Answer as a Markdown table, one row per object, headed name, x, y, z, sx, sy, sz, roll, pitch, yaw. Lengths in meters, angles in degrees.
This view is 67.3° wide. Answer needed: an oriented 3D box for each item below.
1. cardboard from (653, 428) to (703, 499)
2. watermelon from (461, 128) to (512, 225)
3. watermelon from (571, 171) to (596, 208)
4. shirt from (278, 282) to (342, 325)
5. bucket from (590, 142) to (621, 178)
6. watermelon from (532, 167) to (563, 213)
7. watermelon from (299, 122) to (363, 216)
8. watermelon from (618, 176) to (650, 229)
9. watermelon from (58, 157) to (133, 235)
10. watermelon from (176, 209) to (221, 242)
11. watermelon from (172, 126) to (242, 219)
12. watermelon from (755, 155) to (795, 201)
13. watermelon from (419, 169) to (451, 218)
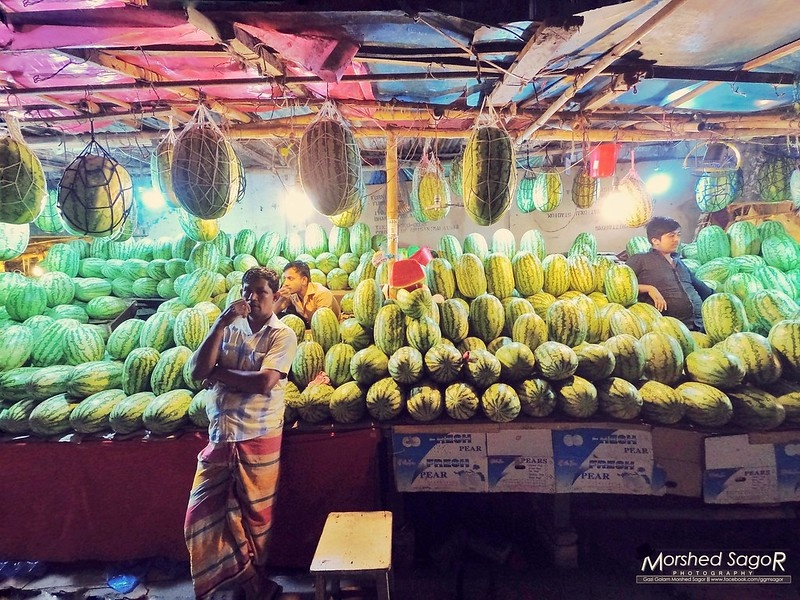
| name | x | y | z | sx | sy | sz | roll | pitch | yaw |
| --- | --- | --- | --- | --- | --- | --- | --- | --- | --- |
| cardboard | 2.274 | 1.312 | 4.910 | 0.401 | 0.553 | 0.039 | 0 | 5 | 7 |
| watermelon | 0.759 | -1.017 | 5.107 | 0.468 | 0.776 | 0.407 | 3 | -6 | 42 |
| watermelon | 2.013 | -1.217 | 6.550 | 0.282 | 0.402 | 0.218 | 3 | 7 | 35 |
| shirt | -0.858 | -0.011 | 6.141 | 0.540 | 0.349 | 0.390 | -25 | 16 | -38 |
| bucket | 2.181 | -1.484 | 6.386 | 0.388 | 0.346 | 0.321 | -3 | 10 | -23 |
| watermelon | 1.650 | -1.213 | 6.674 | 0.333 | 0.493 | 0.313 | -4 | 18 | 3 |
| watermelon | -0.590 | -1.119 | 5.077 | 0.524 | 0.773 | 0.254 | -1 | 5 | -5 |
| watermelon | 2.512 | -1.061 | 6.425 | 0.374 | 0.591 | 0.368 | -5 | 13 | 26 |
| watermelon | -2.699 | -0.920 | 5.341 | 0.638 | 0.771 | 0.650 | 3 | 6 | 14 |
| watermelon | -2.144 | -0.784 | 6.405 | 0.309 | 0.255 | 0.428 | 1 | -1 | -9 |
| watermelon | -1.690 | -1.131 | 5.236 | 0.609 | 0.819 | 0.575 | 3 | 12 | 24 |
| watermelon | 4.139 | -1.333 | 6.598 | 0.345 | 0.481 | 0.248 | 3 | 7 | 34 |
| watermelon | 0.375 | -1.121 | 6.282 | 0.297 | 0.528 | 0.302 | 4 | -7 | -22 |
